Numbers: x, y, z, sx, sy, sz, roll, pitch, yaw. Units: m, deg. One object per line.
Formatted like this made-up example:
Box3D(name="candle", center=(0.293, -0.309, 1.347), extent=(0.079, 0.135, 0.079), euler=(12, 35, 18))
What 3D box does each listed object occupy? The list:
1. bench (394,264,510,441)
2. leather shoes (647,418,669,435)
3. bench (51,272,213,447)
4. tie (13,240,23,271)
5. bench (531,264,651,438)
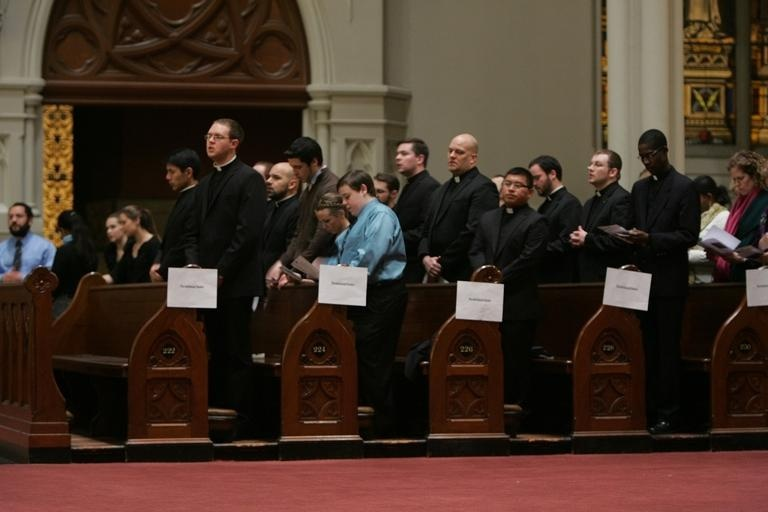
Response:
Box3D(name="bench", center=(0.752, 0.880, 11.486), extent=(0.810, 1.472, 1.198), euler=(-1, -6, 6))
Box3D(name="leather shoes", center=(2.356, 1.478, 11.302), extent=(0.225, 0.087, 0.089), euler=(-5, 9, -29))
Box3D(name="bench", center=(-2.135, 0.893, 11.171), extent=(0.549, 1.061, 1.383), euler=(4, -6, -33))
Box3D(name="tie", center=(-3.829, -0.024, 13.574), extent=(0.085, 0.319, 0.094), euler=(-1, 2, -15))
Box3D(name="bench", center=(1.848, 0.900, 11.835), extent=(0.748, 1.486, 1.582), euler=(1, -4, -9))
